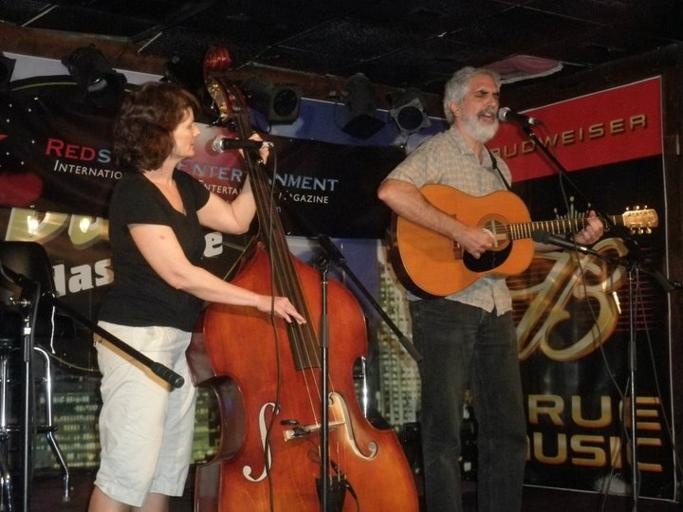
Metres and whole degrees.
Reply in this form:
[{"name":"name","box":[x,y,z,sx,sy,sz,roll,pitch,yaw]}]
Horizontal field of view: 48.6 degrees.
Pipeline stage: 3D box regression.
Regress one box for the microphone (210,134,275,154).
[{"name":"microphone","box":[-0.488,-0.537,3.782,0.358,0.092,0.111,-1,6,-38]}]
